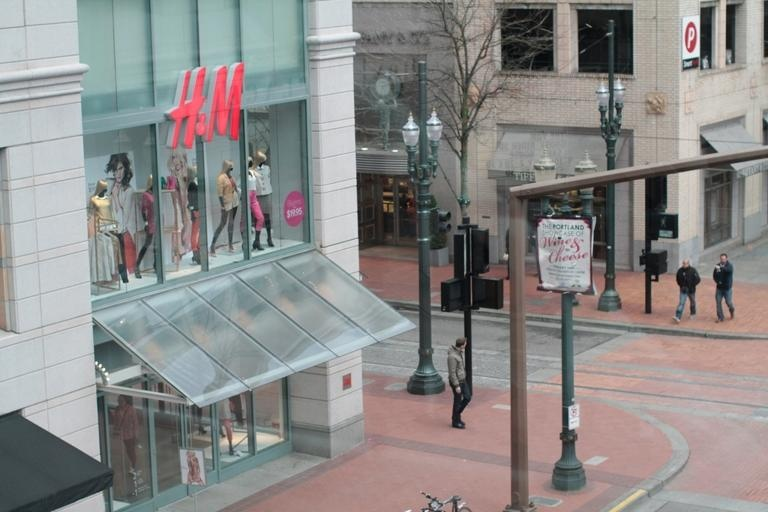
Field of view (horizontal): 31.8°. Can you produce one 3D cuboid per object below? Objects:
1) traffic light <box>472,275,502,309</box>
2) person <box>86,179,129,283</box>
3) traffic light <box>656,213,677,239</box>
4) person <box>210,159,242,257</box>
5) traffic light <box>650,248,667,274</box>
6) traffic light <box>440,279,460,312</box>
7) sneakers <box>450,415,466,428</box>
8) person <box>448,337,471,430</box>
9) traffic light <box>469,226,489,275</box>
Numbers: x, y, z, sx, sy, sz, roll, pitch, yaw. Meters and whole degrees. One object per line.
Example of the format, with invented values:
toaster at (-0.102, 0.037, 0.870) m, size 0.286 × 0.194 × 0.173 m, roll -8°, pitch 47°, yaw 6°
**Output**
traffic light at (2.204, 0.820, 29.253) m, size 0.718 × 0.675 × 0.259 m, roll 3°, pitch 6°, yaw 25°
person at (-5.125, -0.411, 24.891) m, size 0.718 × 1.971 × 0.443 m, roll -8°, pitch 16°, yaw -29°
traffic light at (8.091, -0.869, 38.608) m, size 0.513 × 0.707 × 0.233 m, roll 7°, pitch 16°, yaw 28°
person at (-3.162, -0.962, 26.759) m, size 0.267 × 1.822 × 0.800 m, roll 7°, pitch 16°, yaw 29°
traffic light at (7.715, 0.205, 38.203) m, size 0.518 × 0.696 × 0.312 m, roll -12°, pitch 18°, yaw -40°
traffic light at (1.430, 0.874, 29.254) m, size 0.301 × 0.694 × 0.692 m, roll 8°, pitch 12°, yaw 36°
sneakers at (1.632, 3.768, 30.139) m, size 0.275 × 0.317 × 0.271 m, roll -2°, pitch 9°, yaw 6°
person at (1.678, 2.816, 30.255) m, size 0.490 × 2.078 × 0.988 m, roll 0°, pitch 14°, yaw 3°
traffic light at (2.059, -0.077, 29.277) m, size 0.374 × 1.061 × 0.437 m, roll 0°, pitch 14°, yaw 1°
